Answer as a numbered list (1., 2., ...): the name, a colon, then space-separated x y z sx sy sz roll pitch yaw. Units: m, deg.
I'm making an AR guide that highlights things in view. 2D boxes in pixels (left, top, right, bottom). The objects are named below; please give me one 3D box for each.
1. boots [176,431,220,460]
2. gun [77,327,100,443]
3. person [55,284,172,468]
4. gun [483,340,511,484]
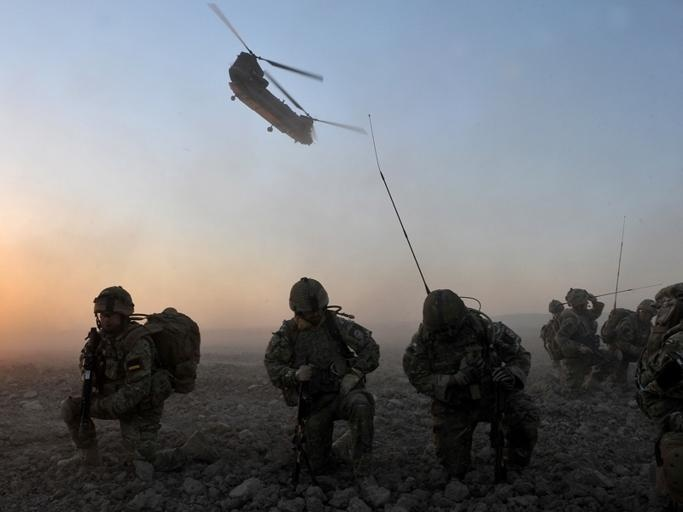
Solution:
1. boots: -1.858 2.480 6.789 0.464 0.188 0.724 1 1 -13
2. gun: -3.115 1.524 6.361 0.218 1.259 0.382 1 1 -16
3. person: -2.764 1.485 6.386 1.173 2.192 0.662 1 1 23
4. gun: 1.756 1.936 6.036 0.183 1.321 0.485 -1 -6 -1
